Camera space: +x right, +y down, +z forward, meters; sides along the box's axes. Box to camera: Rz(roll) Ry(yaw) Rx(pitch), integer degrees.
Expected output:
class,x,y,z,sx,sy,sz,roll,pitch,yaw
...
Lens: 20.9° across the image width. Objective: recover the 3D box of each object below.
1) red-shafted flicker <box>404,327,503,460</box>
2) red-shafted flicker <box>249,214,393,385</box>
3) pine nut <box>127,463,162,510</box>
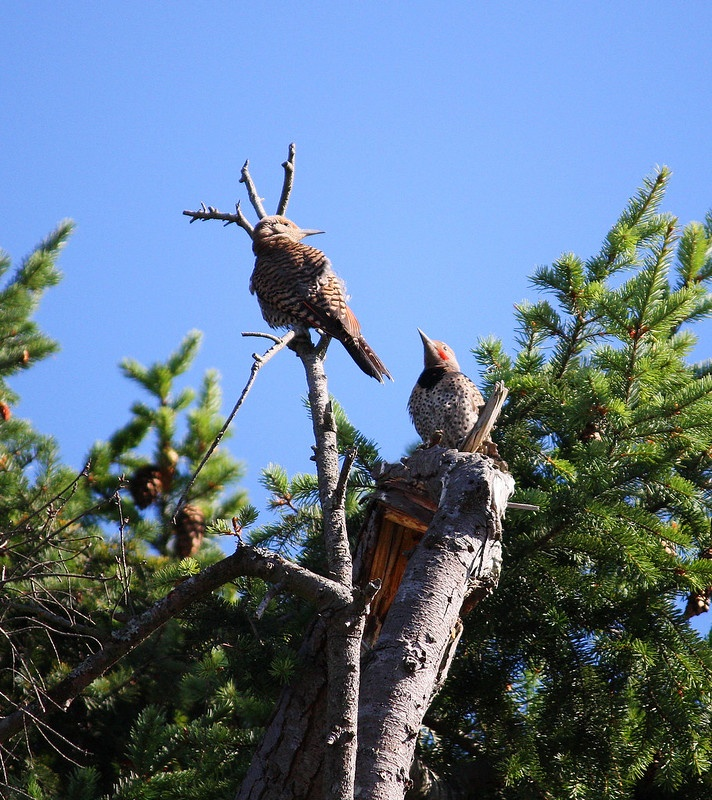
class,x,y,z,sx,sy,sz,roll,pitch,yaw
red-shafted flicker,0.450,0.085,9.699,0.299,0.685,0.587,-13,-32,20
red-shafted flicker,-0.247,-0.546,10.157,1.032,0.376,0.771,17,-81,39
pine nut,-1.244,0.511,11.430,0.199,0.205,0.179,27,-43,-7
